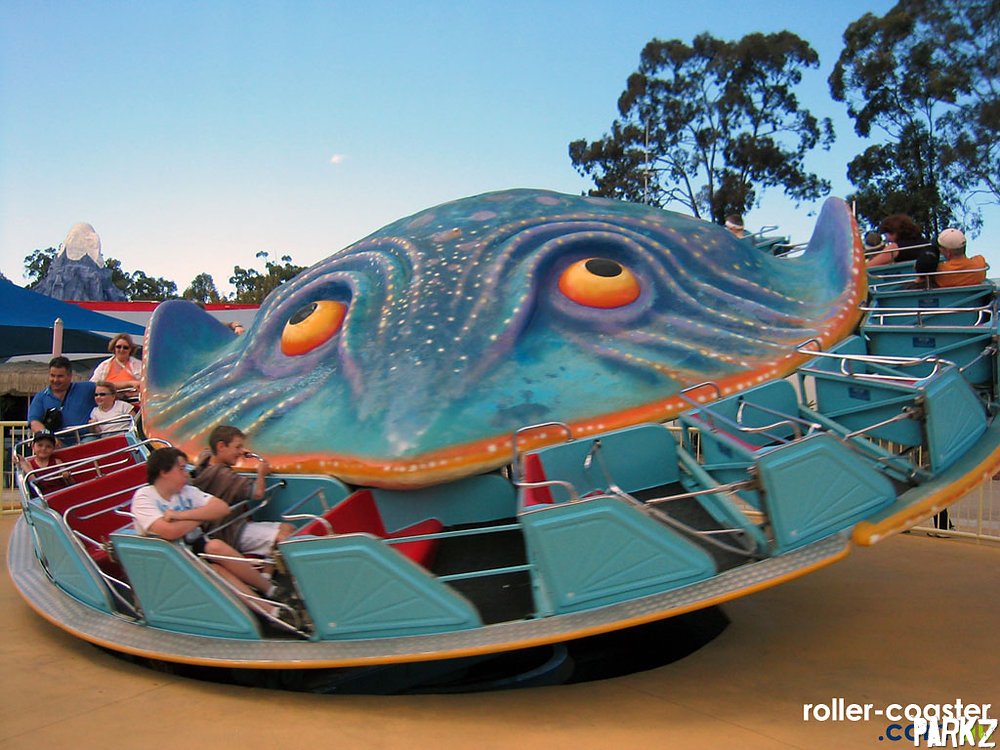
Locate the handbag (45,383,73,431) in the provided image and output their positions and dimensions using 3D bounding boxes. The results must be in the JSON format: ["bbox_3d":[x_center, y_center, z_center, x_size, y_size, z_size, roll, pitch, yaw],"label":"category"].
[{"bbox_3d":[-4.964,0.363,7.540,0.292,0.451,0.218,-6,9,-28],"label":"handbag"}]

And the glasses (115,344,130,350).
[{"bbox_3d":[-4.748,-0.368,8.491,0.105,0.082,0.028,-2,-19,4],"label":"glasses"}]

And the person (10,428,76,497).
[{"bbox_3d":[-4.476,0.883,6.649,0.383,0.624,0.985,-7,9,-32],"label":"person"}]

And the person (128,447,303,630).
[{"bbox_3d":[-2.127,1.252,5.045,1.644,0.847,0.693,23,46,16],"label":"person"}]

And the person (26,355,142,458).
[{"bbox_3d":[-4.886,0.331,7.590,0.818,0.877,0.853,2,6,17],"label":"person"}]

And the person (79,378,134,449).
[{"bbox_3d":[-4.445,0.409,7.545,0.648,0.696,0.590,-8,0,7],"label":"person"}]

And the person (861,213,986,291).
[{"bbox_3d":[5.469,-1.680,8.670,0.806,1.033,2.838,1,7,15],"label":"person"}]
